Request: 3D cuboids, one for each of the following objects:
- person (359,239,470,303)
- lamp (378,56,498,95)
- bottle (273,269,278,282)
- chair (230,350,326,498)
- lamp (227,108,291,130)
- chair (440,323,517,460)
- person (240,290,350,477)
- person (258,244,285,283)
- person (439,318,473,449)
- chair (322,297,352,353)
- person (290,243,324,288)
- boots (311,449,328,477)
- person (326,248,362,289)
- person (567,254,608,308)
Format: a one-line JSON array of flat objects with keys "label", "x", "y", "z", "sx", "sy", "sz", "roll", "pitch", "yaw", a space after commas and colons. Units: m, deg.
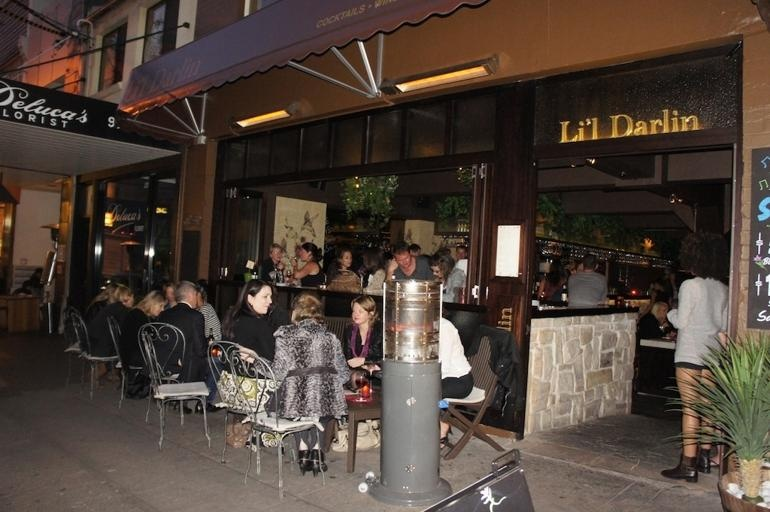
[{"label": "person", "x": 0.433, "y": 0.210, "z": 8.136, "sx": 2.162, "sy": 0.576, "sz": 0.914, "roll": 11, "pitch": 8, "yaw": -28}, {"label": "lamp", "x": 0.721, "y": -2.289, "z": 7.097, "sx": 1.351, "sy": 0.112, "sz": 0.233, "roll": -3, "pitch": -19, "yaw": 30}, {"label": "bottle", "x": -1.918, "y": 0.345, "z": 9.919, "sx": 0.095, "sy": 0.176, "sz": 0.286, "roll": 1, "pitch": 6, "yaw": -2}, {"label": "chair", "x": -1.157, "y": 1.685, "z": 5.874, "sx": 0.814, "sy": 1.278, "sz": 0.699, "roll": -1, "pitch": -4, "yaw": 33}, {"label": "lamp", "x": -2.032, "y": -2.276, "z": 9.256, "sx": 1.556, "sy": 0.224, "sz": 0.418, "roll": 6, "pitch": 8, "yaw": 43}, {"label": "chair", "x": 0.949, "y": 1.556, "z": 6.511, "sx": 1.138, "sy": 1.249, "sz": 0.973, "roll": -12, "pitch": 17, "yaw": -35}, {"label": "person", "x": -0.764, "y": 1.329, "z": 5.835, "sx": 0.778, "sy": 1.881, "sz": 0.461, "roll": 1, "pitch": 6, "yaw": -8}, {"label": "person", "x": -2.054, "y": 0.101, "z": 10.266, "sx": 0.450, "sy": 0.636, "sz": 1.398, "roll": 0, "pitch": 6, "yaw": -13}, {"label": "person", "x": 0.751, "y": 1.124, "z": 6.106, "sx": 0.234, "sy": 0.905, "sz": 0.585, "roll": 6, "pitch": 8, "yaw": 40}, {"label": "chair", "x": -0.601, "y": 0.905, "z": 7.354, "sx": 0.493, "sy": 0.872, "sz": 0.592, "roll": 1, "pitch": -19, "yaw": -2}, {"label": "person", "x": -1.353, "y": 0.128, "z": 9.860, "sx": 0.560, "sy": 0.738, "sz": 1.266, "roll": 1, "pitch": 6, "yaw": -9}, {"label": "boots", "x": -0.681, "y": 2.147, "z": 5.844, "sx": 0.124, "sy": 0.213, "sz": 0.282, "roll": 0, "pitch": 2, "yaw": 9}, {"label": "person", "x": -0.653, "y": 0.197, "z": 9.067, "sx": 0.528, "sy": 0.635, "sz": 1.280, "roll": 1, "pitch": 6, "yaw": -7}, {"label": "person", "x": 3.209, "y": 0.398, "z": 8.853, "sx": 0.558, "sy": 0.847, "sz": 0.425, "roll": 3, "pitch": 6, "yaw": 19}]
